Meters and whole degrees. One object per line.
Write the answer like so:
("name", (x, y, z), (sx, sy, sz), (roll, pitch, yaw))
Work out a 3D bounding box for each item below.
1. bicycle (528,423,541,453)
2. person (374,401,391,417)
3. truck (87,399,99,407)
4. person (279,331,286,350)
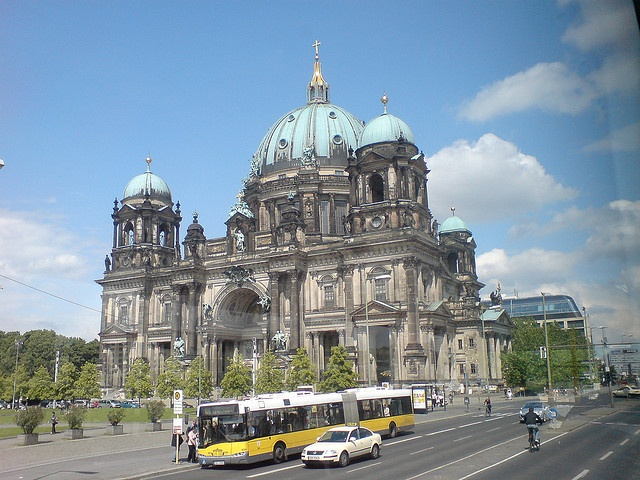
("bicycle", (14.625, 13.576, 46.014), (0.746, 1.814, 0.425), (-2, -4, -6))
("person", (4.989, 13.842, 55.009), (0.782, 1.431, 1.405), (-9, -8, 42))
("truck", (-35.120, 25.251, 103.622), (1.060, 0.824, 1.673), (2, -5, 1))
("person", (-5.128, 14.049, 92.711), (1.011, 2.067, 0.516), (-2, -4, -5))
